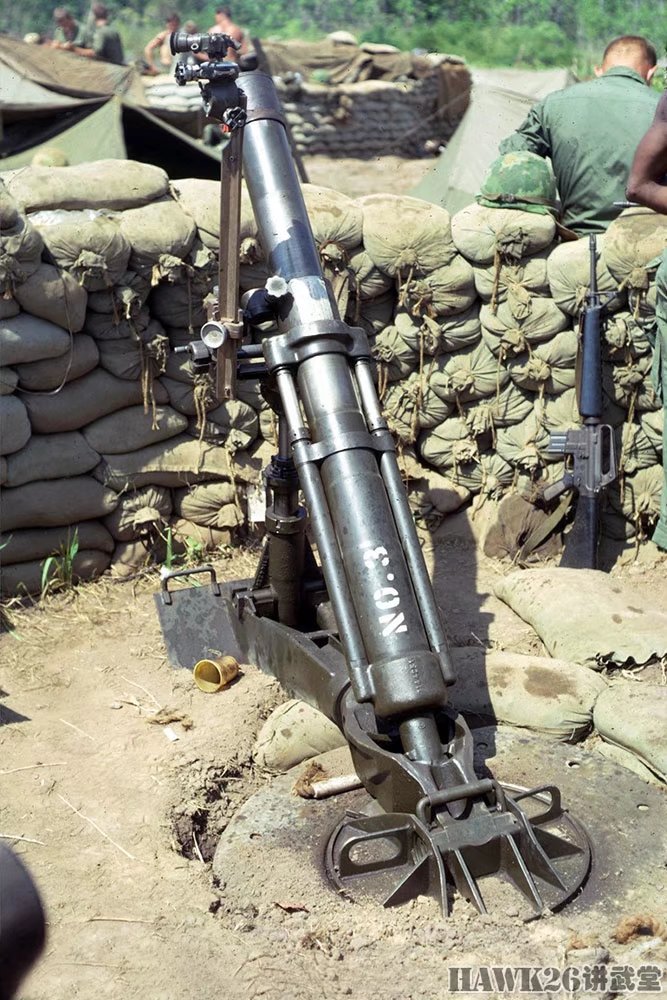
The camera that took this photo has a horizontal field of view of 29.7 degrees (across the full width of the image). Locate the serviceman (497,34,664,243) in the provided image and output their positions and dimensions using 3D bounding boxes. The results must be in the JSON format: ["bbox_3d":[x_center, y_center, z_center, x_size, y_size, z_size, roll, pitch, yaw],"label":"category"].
[{"bbox_3d":[1.364,-1.941,6.770,0.806,1.144,1.049,-4,24,-12],"label":"serviceman"}]

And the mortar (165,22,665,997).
[{"bbox_3d":[-0.052,-0.311,4.333,0.929,2.549,2.608,-11,19,-17],"label":"mortar"}]

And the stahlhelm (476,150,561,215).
[{"bbox_3d":[0.955,-1.648,6.500,0.434,0.334,0.327,-6,20,-6],"label":"stahlhelm"}]
